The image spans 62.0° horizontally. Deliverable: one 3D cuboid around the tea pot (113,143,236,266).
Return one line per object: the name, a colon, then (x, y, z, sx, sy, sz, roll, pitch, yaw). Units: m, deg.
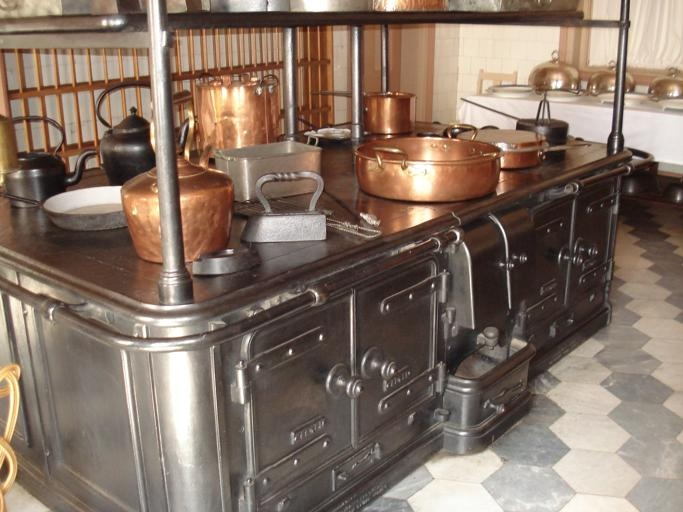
tea pot: (-0.399, -0.169, 1.606, 0.316, 0.264, 0.307, 0, 20, 0)

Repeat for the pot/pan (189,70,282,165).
pot/pan: (-0.418, -0.566, 2.407, 0.403, 0.348, 0.383, 4, 27, 8)

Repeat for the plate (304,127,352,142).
plate: (-0.079, -0.668, 3.105, 0.270, 0.038, 0.159, -13, 27, -32)

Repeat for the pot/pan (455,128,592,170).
pot/pan: (0.732, -0.490, 2.491, 0.469, 0.100, 0.296, 12, 23, 35)

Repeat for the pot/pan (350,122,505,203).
pot/pan: (0.319, -0.369, 2.213, 0.533, 0.193, 0.575, 2, 22, 11)

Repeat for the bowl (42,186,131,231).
bowl: (-0.889, -0.172, 2.013, 0.297, 0.049, 0.295, -14, -8, -2)

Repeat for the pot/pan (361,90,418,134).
pot/pan: (0.265, -0.803, 3.190, 0.258, 0.156, 0.259, 17, 27, 39)

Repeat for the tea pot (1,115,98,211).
tea pot: (-1.074, -0.360, 2.054, 0.314, 0.316, 0.439, -15, 22, -28)
